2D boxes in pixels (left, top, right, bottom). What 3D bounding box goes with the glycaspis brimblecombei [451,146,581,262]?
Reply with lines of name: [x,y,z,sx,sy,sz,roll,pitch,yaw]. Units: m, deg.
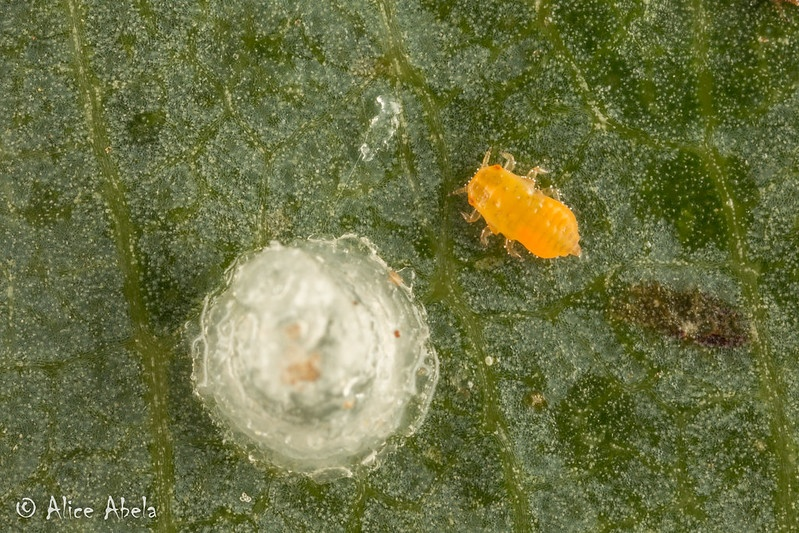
glycaspis brimblecombei: [2.237,-0.982,17.702,2.277,1.092,1.503,29,81,1]
